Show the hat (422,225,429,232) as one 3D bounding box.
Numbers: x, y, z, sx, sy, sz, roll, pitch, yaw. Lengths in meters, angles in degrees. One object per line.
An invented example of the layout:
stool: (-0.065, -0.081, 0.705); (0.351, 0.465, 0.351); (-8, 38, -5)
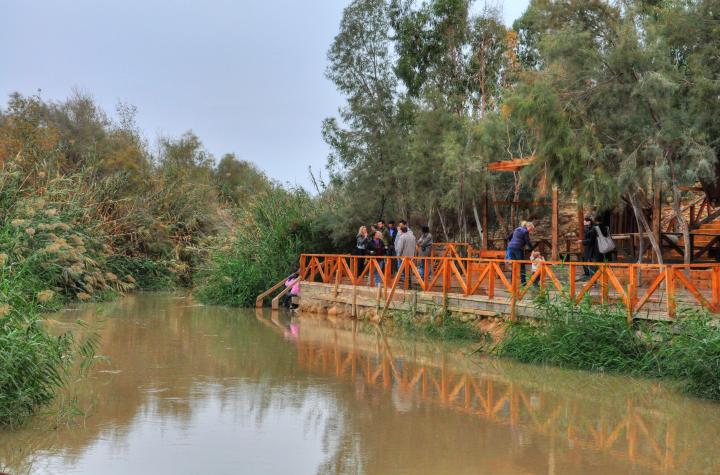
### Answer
hat: (1.916, -0.262, 18.020); (0.167, 0.158, 0.207); (0, -12, -4)

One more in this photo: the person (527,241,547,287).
person: (4.887, 0.735, 17.328); (0.441, 1.541, 0.547); (-7, 26, -6)

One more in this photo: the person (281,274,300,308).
person: (-2.358, 1.866, 21.734); (0.561, 1.237, 1.058); (-2, 7, -10)
